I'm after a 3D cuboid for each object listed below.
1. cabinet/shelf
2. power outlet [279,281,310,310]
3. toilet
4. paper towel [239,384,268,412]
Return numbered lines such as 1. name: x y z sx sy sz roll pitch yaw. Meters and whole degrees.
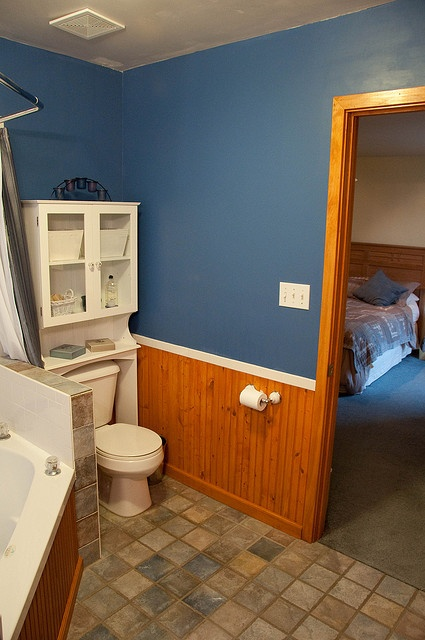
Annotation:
1. cabinet/shelf: -0.693 0.077 2.584 0.651 1.458 0.230 -6 18 -28
2. power outlet: 0.381 -0.116 2.062 0.018 0.102 0.113 -11 17 -41
3. toilet: -0.570 0.666 2.532 0.626 0.734 0.396 8 14 38
4. paper towel: 0.199 0.382 2.211 0.096 0.101 0.137 15 -5 19
